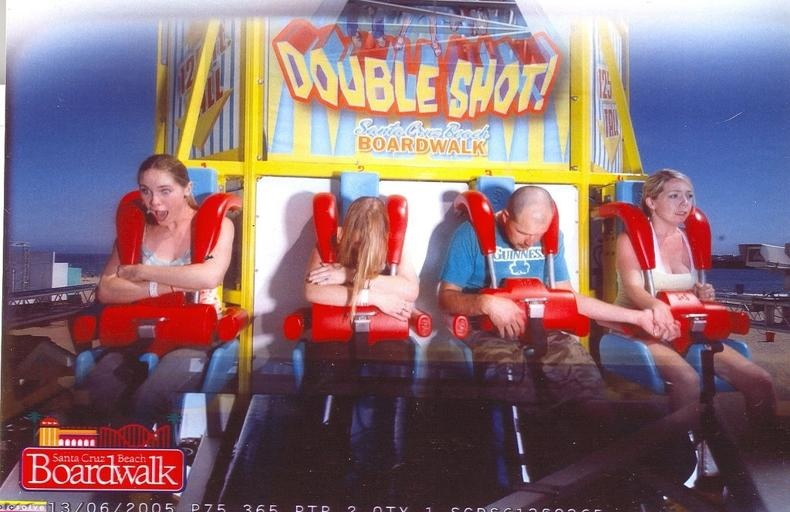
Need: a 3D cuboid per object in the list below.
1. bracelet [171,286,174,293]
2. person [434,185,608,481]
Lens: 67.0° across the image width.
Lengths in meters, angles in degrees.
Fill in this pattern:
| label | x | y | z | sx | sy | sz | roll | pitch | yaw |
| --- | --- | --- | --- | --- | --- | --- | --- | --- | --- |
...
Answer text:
| label | x | y | z | sx | sy | sz | roll | pitch | yaw |
| --- | --- | --- | --- | --- | --- | --- | --- | --- | --- |
| bracelet | -0.955 | 0.148 | 2.554 | 0.016 | 0.024 | 0.006 | -8 | 0 | 8 |
| person | 0.590 | 0.125 | 2.650 | 0.655 | 0.825 | 0.708 | -8 | 13 | -44 |
